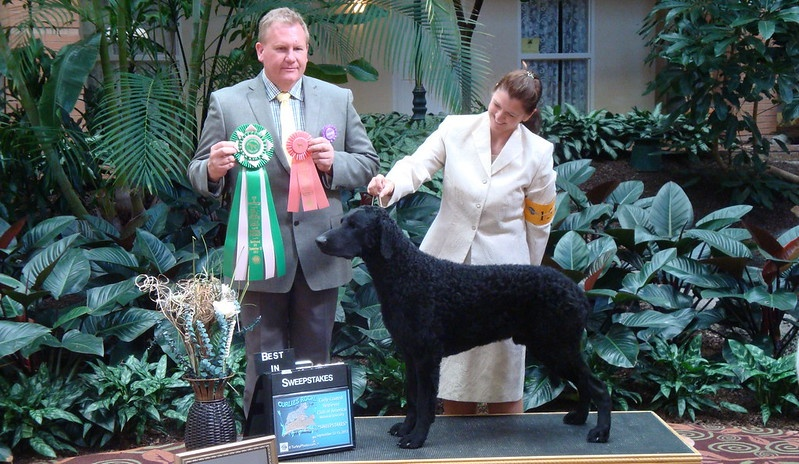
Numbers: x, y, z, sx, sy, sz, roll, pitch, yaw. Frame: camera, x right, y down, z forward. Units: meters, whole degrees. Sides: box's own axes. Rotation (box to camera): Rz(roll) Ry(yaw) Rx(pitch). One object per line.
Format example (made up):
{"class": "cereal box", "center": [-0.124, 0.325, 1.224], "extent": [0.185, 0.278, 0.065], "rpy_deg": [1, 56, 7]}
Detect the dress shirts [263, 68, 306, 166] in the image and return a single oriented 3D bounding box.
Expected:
{"class": "dress shirts", "center": [-0.807, -0.835, 4.199], "extent": [0.393, 0.625, 0.152], "rpy_deg": [-6, 11, -7]}

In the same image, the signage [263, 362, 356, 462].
{"class": "signage", "center": [-0.622, 1.226, 3.900], "extent": [0.570, 0.551, 0.220], "rpy_deg": [-7, -8, -11]}

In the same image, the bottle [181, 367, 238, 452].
{"class": "bottle", "center": [-1.297, 1.249, 3.970], "extent": [0.304, 0.452, 0.319], "rpy_deg": [2, -7, 0]}

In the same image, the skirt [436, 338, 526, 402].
{"class": "skirt", "center": [0.630, 1.099, 4.536], "extent": [0.539, 0.416, 0.592], "rpy_deg": [-8, -21, 40]}

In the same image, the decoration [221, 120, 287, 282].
{"class": "decoration", "center": [-1.026, -0.156, 4.109], "extent": [0.474, 1.175, 0.145], "rpy_deg": [-3, 28, -18]}
